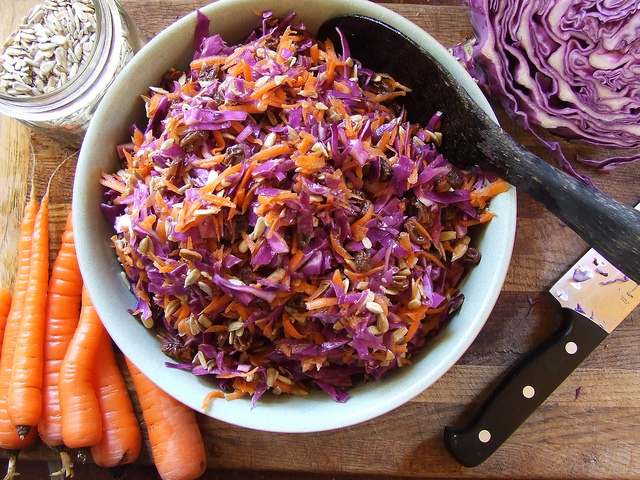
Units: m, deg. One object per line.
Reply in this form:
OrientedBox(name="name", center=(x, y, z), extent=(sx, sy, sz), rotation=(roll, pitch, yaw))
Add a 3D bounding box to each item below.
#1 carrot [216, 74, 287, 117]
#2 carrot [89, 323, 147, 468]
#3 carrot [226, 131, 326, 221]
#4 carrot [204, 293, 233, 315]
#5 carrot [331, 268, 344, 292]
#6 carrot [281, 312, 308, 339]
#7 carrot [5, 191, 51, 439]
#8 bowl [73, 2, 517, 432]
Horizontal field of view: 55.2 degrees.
OrientedBox(name="carrot", center=(-0.185, -0.388, 1.665), extent=(0.163, 0.045, 0.115), rotation=(-24, 76, 4))
OrientedBox(name="carrot", center=(-0.692, 0.555, 2.090), extent=(0.148, 0.134, 0.557), rotation=(-12, 77, -13))
OrientedBox(name="carrot", center=(-0.118, -0.177, 1.647), extent=(0.180, 0.105, 0.292), rotation=(27, 79, 12))
OrientedBox(name="carrot", center=(-0.284, 0.184, 1.717), extent=(0.090, 0.038, 0.036), rotation=(-36, 83, -4))
OrientedBox(name="carrot", center=(0.052, 0.108, 1.681), extent=(0.033, 0.011, 0.051), rotation=(-38, 107, -36))
OrientedBox(name="carrot", center=(-0.081, 0.258, 1.732), extent=(0.050, 0.035, 0.095), rotation=(-43, 84, -5))
OrientedBox(name="carrot", center=(-0.945, 0.274, 2.080), extent=(0.116, 0.114, 0.876), rotation=(6, 83, -19))
OrientedBox(name="bowl", center=(-0.076, -0.078, 1.802), extent=(1.268, 0.217, 1.248), rotation=(0, 82, 0))
